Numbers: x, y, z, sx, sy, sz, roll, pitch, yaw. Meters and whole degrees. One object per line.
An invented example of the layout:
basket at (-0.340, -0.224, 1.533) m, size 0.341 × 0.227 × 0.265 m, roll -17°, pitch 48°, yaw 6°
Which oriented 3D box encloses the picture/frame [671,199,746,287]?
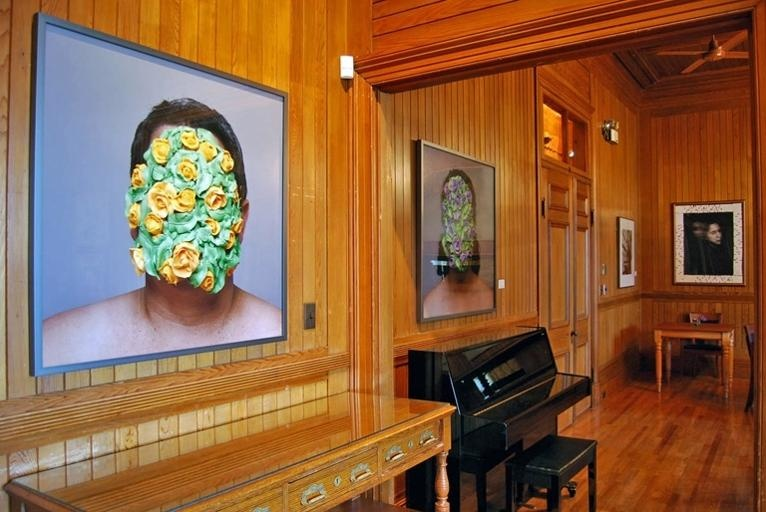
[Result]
picture/frame at (4.532, -0.160, 9.038) m, size 1.218 × 1.654 × 0.076 m, roll 0°, pitch -2°, yaw 31°

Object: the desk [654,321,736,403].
desk at (3.929, 1.298, 8.276) m, size 1.060 × 0.774 × 1.025 m, roll 0°, pitch -3°, yaw 13°

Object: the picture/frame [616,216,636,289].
picture/frame at (3.187, -0.040, 8.644) m, size 0.079 × 1.110 × 0.957 m, roll -2°, pitch 2°, yaw 35°

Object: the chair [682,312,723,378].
chair at (4.213, 1.148, 8.592) m, size 0.502 × 0.817 × 0.620 m, roll -3°, pitch -6°, yaw 38°
